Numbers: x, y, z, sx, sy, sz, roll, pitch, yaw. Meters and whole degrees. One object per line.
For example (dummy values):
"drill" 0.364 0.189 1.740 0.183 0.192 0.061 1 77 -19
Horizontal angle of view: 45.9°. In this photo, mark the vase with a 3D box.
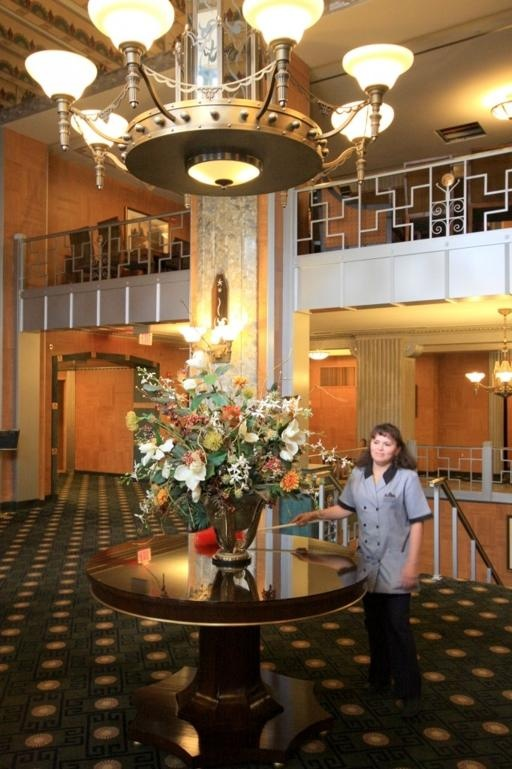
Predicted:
"vase" -0.082 0.576 2.404 0.286 0.310 0.297 1 -10 -4

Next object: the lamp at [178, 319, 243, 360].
"lamp" -0.462 -0.507 6.483 0.751 0.380 0.295 -2 -16 34

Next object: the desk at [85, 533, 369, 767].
"desk" -0.135 1.117 2.444 1.075 0.774 1.102 2 -5 -15
